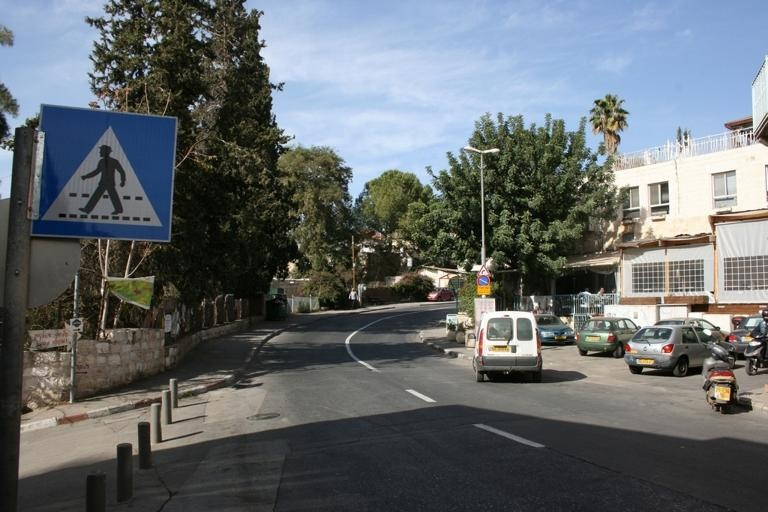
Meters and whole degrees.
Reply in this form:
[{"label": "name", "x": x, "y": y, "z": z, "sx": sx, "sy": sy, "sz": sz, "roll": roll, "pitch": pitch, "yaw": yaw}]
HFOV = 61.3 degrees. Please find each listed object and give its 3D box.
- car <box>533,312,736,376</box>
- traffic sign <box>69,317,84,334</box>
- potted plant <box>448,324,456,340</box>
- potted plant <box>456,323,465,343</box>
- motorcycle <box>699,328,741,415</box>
[{"label": "car", "x": 10.594, "y": 3.183, "z": 23.657, "sx": 3.939, "sy": 1.438, "sz": 2.567, "roll": -3, "pitch": 0, "yaw": -41}, {"label": "traffic sign", "x": -9.016, "y": 1.955, "z": 18.996, "sx": 0.402, "sy": 0.425, "sz": 0.436, "roll": 1, "pitch": -34, "yaw": -28}, {"label": "potted plant", "x": 3.627, "y": 4.135, "z": 35.072, "sx": 0.546, "sy": 0.563, "sz": 0.585, "roll": 1, "pitch": -5, "yaw": 7}, {"label": "potted plant", "x": 3.983, "y": 4.160, "z": 34.237, "sx": 0.596, "sy": 0.920, "sz": 0.629, "roll": 2, "pitch": -1, "yaw": -5}, {"label": "motorcycle", "x": 8.925, "y": 3.180, "z": 17.289, "sx": 0.777, "sy": 1.727, "sz": 1.693, "roll": -3, "pitch": -6, "yaw": 27}]
